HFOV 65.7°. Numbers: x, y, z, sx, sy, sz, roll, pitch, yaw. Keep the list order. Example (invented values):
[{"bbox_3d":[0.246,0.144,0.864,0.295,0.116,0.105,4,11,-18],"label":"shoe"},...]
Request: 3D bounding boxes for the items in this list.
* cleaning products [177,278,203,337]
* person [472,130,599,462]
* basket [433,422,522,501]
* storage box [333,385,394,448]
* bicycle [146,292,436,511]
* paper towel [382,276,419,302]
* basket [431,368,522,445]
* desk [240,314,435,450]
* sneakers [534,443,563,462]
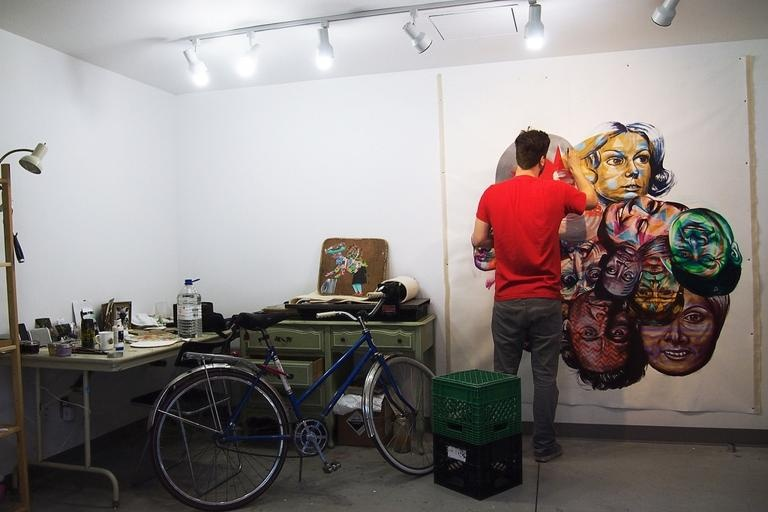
[{"bbox_3d":[-1.670,0.444,5.095,0.209,0.504,0.199,-1,0,8],"label":"cleaning products"},{"bbox_3d":[1.167,0.496,4.878,0.807,2.250,0.560,3,13,17],"label":"person"},{"bbox_3d":[0.709,1.488,4.522,0.515,0.322,0.514,2,-1,-40],"label":"basket"},{"bbox_3d":[-0.201,1.472,5.337,0.408,0.364,0.423,-9,-13,16],"label":"storage box"},{"bbox_3d":[-0.591,1.105,5.127,2.456,1.386,1.201,-4,1,-13],"label":"bicycle"},{"bbox_3d":[0.161,0.290,5.307,0.211,0.165,0.274,-3,4,16],"label":"paper towel"},{"bbox_3d":[0.686,1.107,4.547,0.522,0.373,0.522,0,1,-44],"label":"basket"},{"bbox_3d":[-0.452,1.005,5.399,1.663,1.033,0.707,0,5,9],"label":"desk"},{"bbox_3d":[1.329,1.591,4.912,0.250,0.157,0.111,-13,14,-41],"label":"sneakers"}]
